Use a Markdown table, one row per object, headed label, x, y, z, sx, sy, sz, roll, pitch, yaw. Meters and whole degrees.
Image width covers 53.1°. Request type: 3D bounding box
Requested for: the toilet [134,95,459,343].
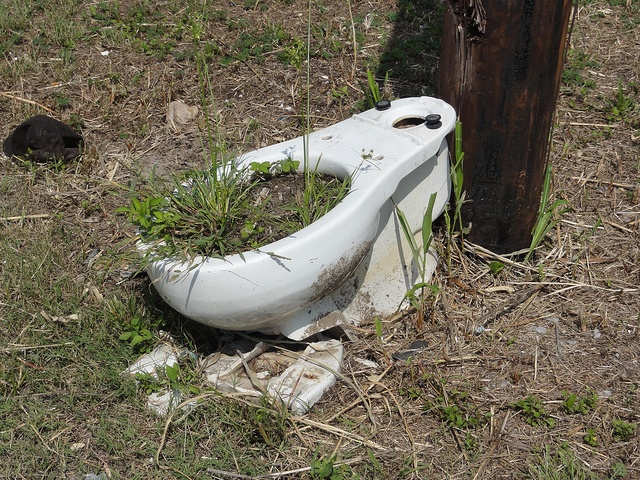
| label | x | y | z | sx | sy | sz | roll | pitch | yaw |
| --- | --- | --- | --- | --- | --- | --- | --- | --- | --- |
| toilet | -0.006 | -0.041 | 2.732 | 1.417 | 0.785 | 0.794 | -31 | 42 | -31 |
